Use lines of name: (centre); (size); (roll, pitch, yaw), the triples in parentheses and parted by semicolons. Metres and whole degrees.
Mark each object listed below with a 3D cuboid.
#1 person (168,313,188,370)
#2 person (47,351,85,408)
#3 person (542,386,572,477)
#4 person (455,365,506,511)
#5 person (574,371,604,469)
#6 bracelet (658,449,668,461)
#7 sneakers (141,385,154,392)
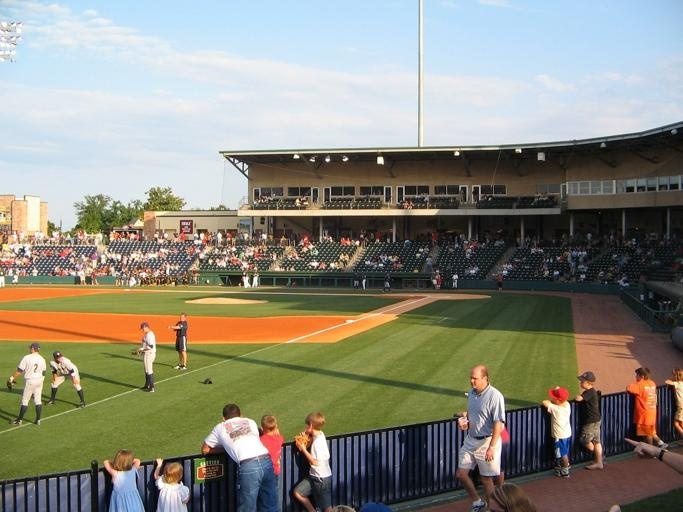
person: (-5.099, 2.667, 28.205); (0.417, 1.665, 0.984); (1, -1, -11)
person: (-7.567, 3.272, 24.384); (1.046, 1.506, 0.995); (0, 3, -15)
person: (4.893, 3.952, 20.293); (0.559, 1.961, 0.332); (0, -1, 11)
person: (2.886, 3.797, 18.537); (0.939, 3.074, 1.479); (1, -1, 2)
person: (5.757, 3.754, 20.640); (0.513, 2.176, 0.703); (0, -1, 40)
bracelet: (6.083, 3.696, 16.800); (0.151, 0.196, 0.232); (-5, 3, 22)
sneakers: (-5.528, 3.707, 25.411); (0.481, 0.193, 0.249); (0, 0, 40)
